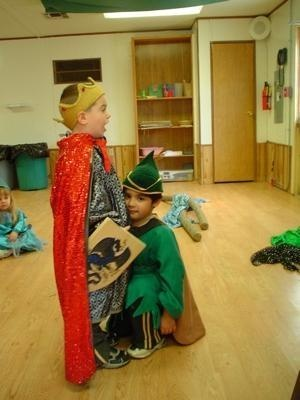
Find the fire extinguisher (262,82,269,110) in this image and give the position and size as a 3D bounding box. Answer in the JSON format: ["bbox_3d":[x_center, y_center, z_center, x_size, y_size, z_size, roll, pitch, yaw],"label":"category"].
[{"bbox_3d":[2.003,-1.807,5.068,0.131,0.509,0.238,-1,6,22],"label":"fire extinguisher"}]

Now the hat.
[{"bbox_3d":[-0.012,-0.101,1.185,0.148,0.168,0.164,16,-5,-44],"label":"hat"}]

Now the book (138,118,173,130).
[{"bbox_3d":[0.100,-1.459,5.634,0.632,0.212,0.454,-3,6,3],"label":"book"}]

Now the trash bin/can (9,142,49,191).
[{"bbox_3d":[-2.274,-0.641,5.855,0.799,1.023,0.840,-2,4,-11],"label":"trash bin/can"}]

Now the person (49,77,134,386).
[{"bbox_3d":[-0.193,0.103,0.988,0.260,1.039,0.330,-5,6,-17],"label":"person"}]
